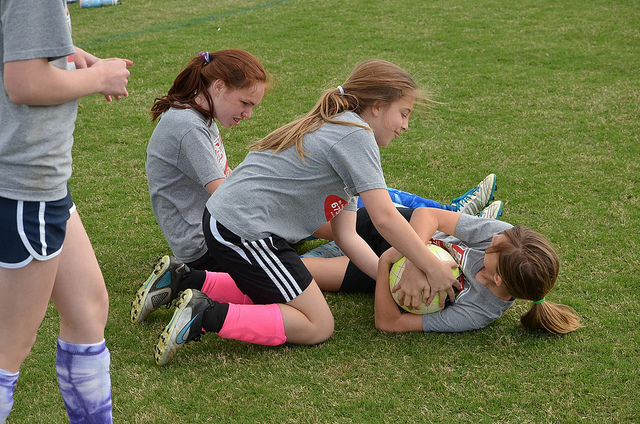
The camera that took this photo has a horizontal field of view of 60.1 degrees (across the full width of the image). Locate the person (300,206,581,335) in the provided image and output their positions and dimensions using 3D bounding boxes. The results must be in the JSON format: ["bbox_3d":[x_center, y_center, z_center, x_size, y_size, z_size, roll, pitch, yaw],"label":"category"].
[{"bbox_3d":[0.822,0.416,3.836,1.468,0.579,0.931,26,55,12],"label":"person"}]

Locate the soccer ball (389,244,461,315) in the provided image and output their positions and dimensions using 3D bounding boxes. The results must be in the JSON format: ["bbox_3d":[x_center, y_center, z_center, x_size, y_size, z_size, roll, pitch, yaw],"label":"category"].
[{"bbox_3d":[0.693,0.463,3.725,0.455,0.413,0.317,-7,30,-12],"label":"soccer ball"}]
